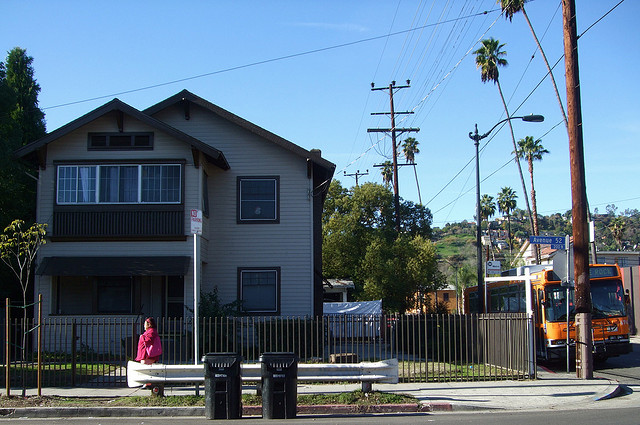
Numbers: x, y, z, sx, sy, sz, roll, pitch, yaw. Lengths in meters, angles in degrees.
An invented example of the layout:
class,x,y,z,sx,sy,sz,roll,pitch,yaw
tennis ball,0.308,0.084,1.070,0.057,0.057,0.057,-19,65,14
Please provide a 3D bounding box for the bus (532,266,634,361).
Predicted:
class,x,y,z,sx,sy,sz,roll,pitch,yaw
bus,10.745,3.817,35.161,2.516,2.386,4.804,-1,-13,-3

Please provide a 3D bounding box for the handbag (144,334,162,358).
class,x,y,z,sx,sy,sz,roll,pitch,yaw
handbag,-5.975,4.821,31.288,0.816,1.128,0.575,2,-18,-14

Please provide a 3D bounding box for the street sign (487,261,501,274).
class,x,y,z,sx,sy,sz,roll,pitch,yaw
street sign,8.012,2.513,40.258,0.536,0.498,0.215,0,-13,4

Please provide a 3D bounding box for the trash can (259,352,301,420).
class,x,y,z,sx,sy,sz,roll,pitch,yaw
trash can,-1.383,5.710,29.287,1.246,2.110,1.556,0,0,1
